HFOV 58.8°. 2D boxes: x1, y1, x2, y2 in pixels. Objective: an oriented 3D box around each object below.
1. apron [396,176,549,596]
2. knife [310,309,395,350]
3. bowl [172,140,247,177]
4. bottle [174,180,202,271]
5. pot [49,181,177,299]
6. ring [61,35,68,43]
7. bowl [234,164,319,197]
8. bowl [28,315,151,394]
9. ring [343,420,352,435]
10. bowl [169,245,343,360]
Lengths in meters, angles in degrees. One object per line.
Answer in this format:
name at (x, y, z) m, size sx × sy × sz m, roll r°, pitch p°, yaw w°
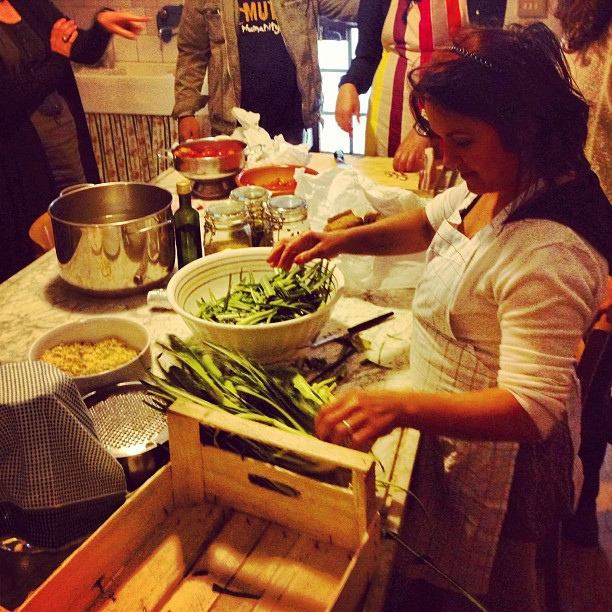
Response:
apron at (0.378, 0.243, 1.316) m, size 0.273 × 1.144 × 0.437 m, roll 5°, pitch 22°, yaw 11°
knife at (0.129, 0.070, 1.508) m, size 0.181 × 0.032 × 0.031 m, roll -22°, pitch 45°, yaw -17°
bowl at (-0.458, -0.698, 2.564) m, size 0.347 × 0.129 × 0.377 m, roll 1°, pitch 23°, yaw 0°
bottle at (-0.399, -0.276, 1.815) m, size 0.077 × 0.348 × 0.073 m, roll 4°, pitch 48°, yaw -5°
pot at (-0.618, -0.207, 1.782) m, size 0.377 × 0.342 × 0.421 m, roll -10°, pitch 25°, yaw -26°
ring at (-1.382, -1.535, 3.112) m, size 0.019 × 0.034 × 0.011 m, roll -25°, pitch -8°, yaw 5°
bowl at (-0.134, -0.574, 2.409) m, size 0.339 × 0.085 × 0.472 m, roll -3°, pitch 24°, yaw -10°
bowl at (-0.424, 0.106, 1.267) m, size 0.174 × 0.086 × 0.171 m, roll 17°, pitch 18°, yaw -6°
ring at (0.070, 0.207, 0.919) m, size 0.022 × 0.005 × 0.005 m, roll 39°, pitch 12°, yaw -5°
bowl at (-0.175, -0.007, 1.610) m, size 0.392 × 0.168 × 0.432 m, roll -10°, pitch -22°, yaw -5°
